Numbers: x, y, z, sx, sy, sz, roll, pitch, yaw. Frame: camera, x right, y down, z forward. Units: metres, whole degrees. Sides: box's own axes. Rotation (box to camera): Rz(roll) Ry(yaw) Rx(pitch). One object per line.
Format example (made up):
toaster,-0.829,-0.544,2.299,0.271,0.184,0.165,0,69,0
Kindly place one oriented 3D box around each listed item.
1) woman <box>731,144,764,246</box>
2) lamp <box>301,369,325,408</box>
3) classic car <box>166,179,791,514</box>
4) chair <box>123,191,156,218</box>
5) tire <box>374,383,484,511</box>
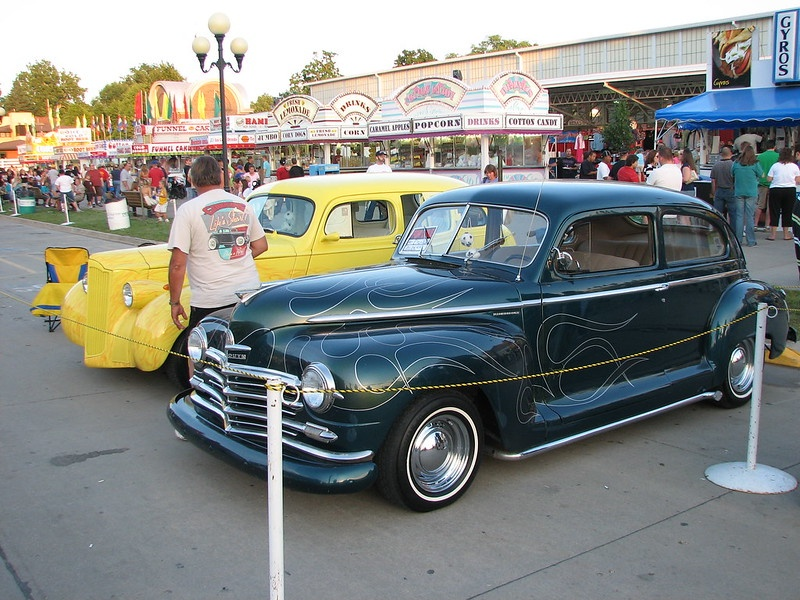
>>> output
woman,8.507,-2.527,13.795,0.790,2.365,0.748,-11,12,-41
lamp,-0.516,0.562,3.667,0.058,0.224,0.205,-5,-1,-40
classic car,0.772,0.172,4.700,4.861,2.228,1.419,-7,13,-26
chair,-10.999,-4.030,24.025,0.789,0.848,1.848,-9,17,-38
tire,0.346,1.088,4.048,0.797,0.775,0.291,-17,-35,43
